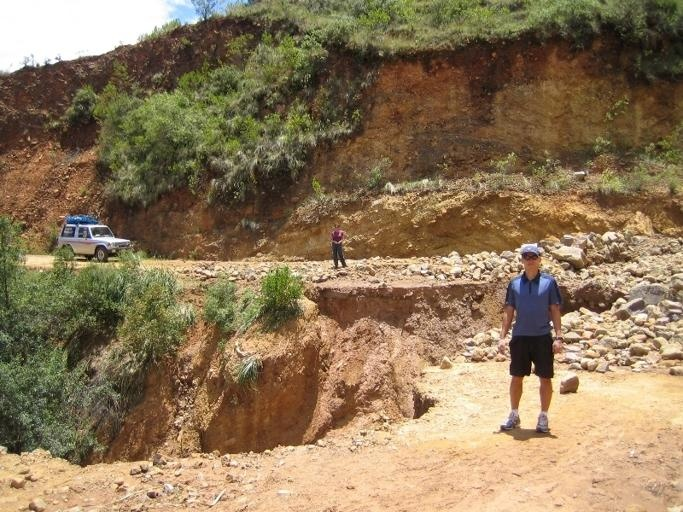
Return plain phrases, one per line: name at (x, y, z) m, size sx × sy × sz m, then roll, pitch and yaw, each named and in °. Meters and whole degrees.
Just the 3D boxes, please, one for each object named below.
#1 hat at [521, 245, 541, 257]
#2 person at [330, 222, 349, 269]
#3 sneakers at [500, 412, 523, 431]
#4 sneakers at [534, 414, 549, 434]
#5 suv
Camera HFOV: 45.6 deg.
hat at (4.253, -0.137, 18.230) m, size 0.456 × 0.272 × 0.212 m, roll -3°, pitch 1°, yaw -6°
person at (-0.066, -0.312, 25.544) m, size 0.421 × 1.041 × 1.488 m, roll -2°, pitch 1°, yaw 0°
sneakers at (3.897, 3.755, 18.557) m, size 0.587 × 0.336 × 0.227 m, roll -15°, pitch 12°, yaw -39°
sneakers at (4.487, 3.765, 18.157) m, size 0.179 × 0.278 × 0.504 m, roll 2°, pitch 2°, yaw 18°
suv at (-9.232, -0.672, 30.433) m, size 2.407 × 1.785 × 1.562 m, roll 1°, pitch 3°, yaw 29°
